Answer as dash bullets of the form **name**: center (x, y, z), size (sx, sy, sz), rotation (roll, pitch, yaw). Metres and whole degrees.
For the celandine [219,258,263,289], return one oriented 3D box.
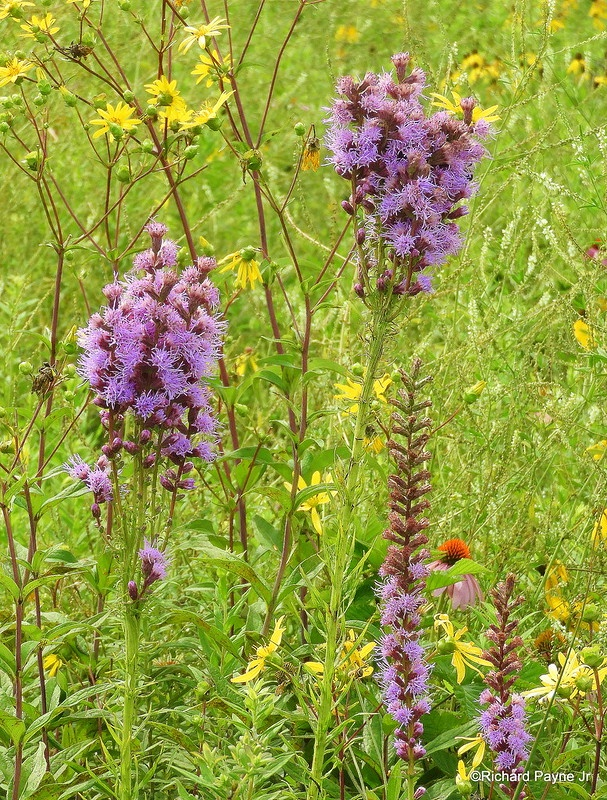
- **celandine**: center (-0.135, -0.271, 2.990), size (0.071, 0.036, 0.072), rotation (26, 19, 39)

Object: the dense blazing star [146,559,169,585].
- **dense blazing star**: center (-0.259, 0.305, 2.473), size (0.027, 0.039, 0.067), rotation (-4, 11, 18)

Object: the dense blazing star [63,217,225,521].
- **dense blazing star**: center (-0.297, -0.038, 2.602), size (0.330, 0.557, 0.409), rotation (-8, 10, -6)
